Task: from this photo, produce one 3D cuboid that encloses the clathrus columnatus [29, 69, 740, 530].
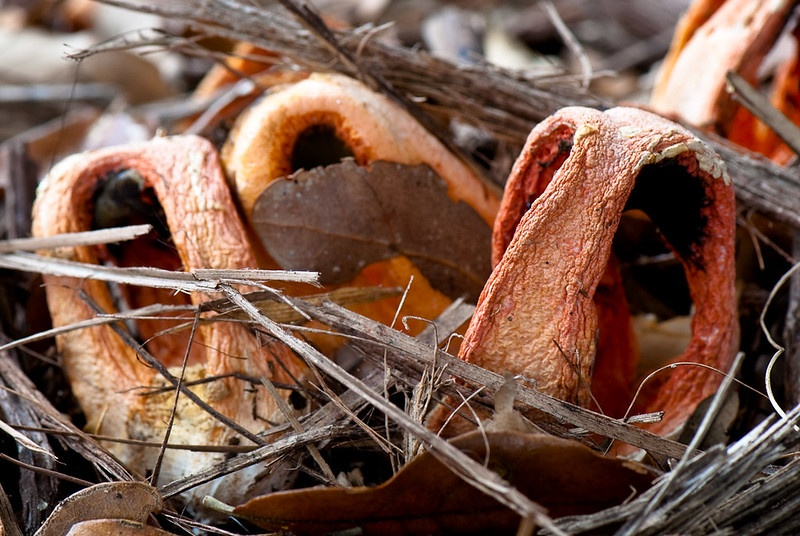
[{"bbox_3d":[0.036,0.011,1.360,0.909,0.446,0.774,-22,31,-35],"label":"clathrus columnatus"}]
